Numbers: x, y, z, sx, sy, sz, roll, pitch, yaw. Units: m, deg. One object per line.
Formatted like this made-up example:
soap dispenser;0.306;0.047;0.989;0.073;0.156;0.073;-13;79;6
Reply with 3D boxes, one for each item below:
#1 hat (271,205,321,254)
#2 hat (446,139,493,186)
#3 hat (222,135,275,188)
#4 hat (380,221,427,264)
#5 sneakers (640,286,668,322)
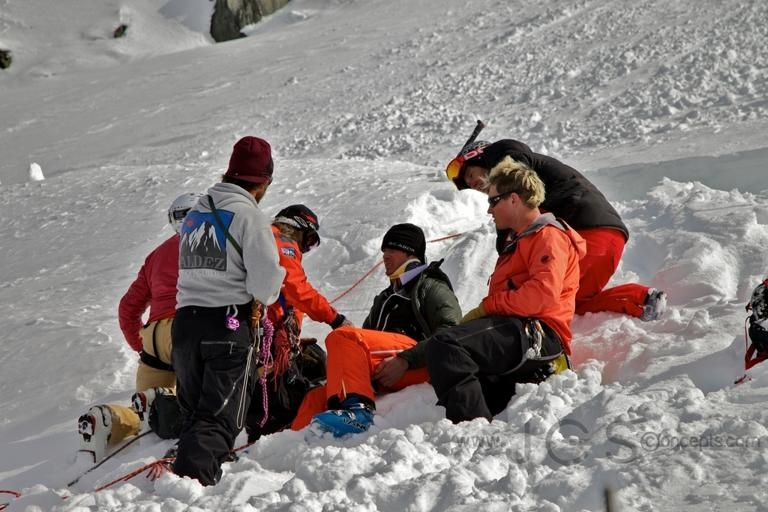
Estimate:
hat;-1.071;-0.375;11.013;0.572;0.659;0.516;-56;20;-12
hat;1.192;-1.339;11.600;0.692;0.501;0.331;-38;60;-11
hat;-1.561;-1.181;10.060;0.498;0.469;0.656;18;22;41
hat;0.288;-0.214;10.741;0.599;0.449;0.486;29;77;-4
sneakers;3.421;0.620;10.610;0.265;0.400;0.180;33;5;1
